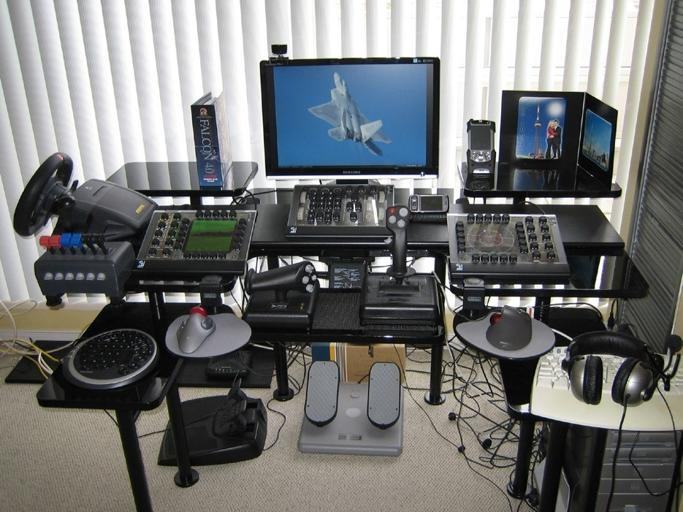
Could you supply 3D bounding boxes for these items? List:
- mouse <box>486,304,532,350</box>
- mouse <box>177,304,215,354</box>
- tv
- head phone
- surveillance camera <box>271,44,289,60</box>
[{"bbox_3d":[0.546,0.219,1.733,0.143,0.067,0.203,10,36,31],"label":"mouse"},{"bbox_3d":[-0.490,0.230,1.785,0.129,0.069,0.188,-6,31,1],"label":"mouse"},{"bbox_3d":[0.046,-0.571,2.210,0.513,0.353,0.022,0,15,-1],"label":"tv"},{"bbox_3d":[0.780,0.323,1.562,0.200,0.086,0.240,7,47,23],"label":"head phone"},{"bbox_3d":[-0.250,-0.825,2.180,0.062,0.055,0.053,-3,23,0],"label":"surveillance camera"}]
